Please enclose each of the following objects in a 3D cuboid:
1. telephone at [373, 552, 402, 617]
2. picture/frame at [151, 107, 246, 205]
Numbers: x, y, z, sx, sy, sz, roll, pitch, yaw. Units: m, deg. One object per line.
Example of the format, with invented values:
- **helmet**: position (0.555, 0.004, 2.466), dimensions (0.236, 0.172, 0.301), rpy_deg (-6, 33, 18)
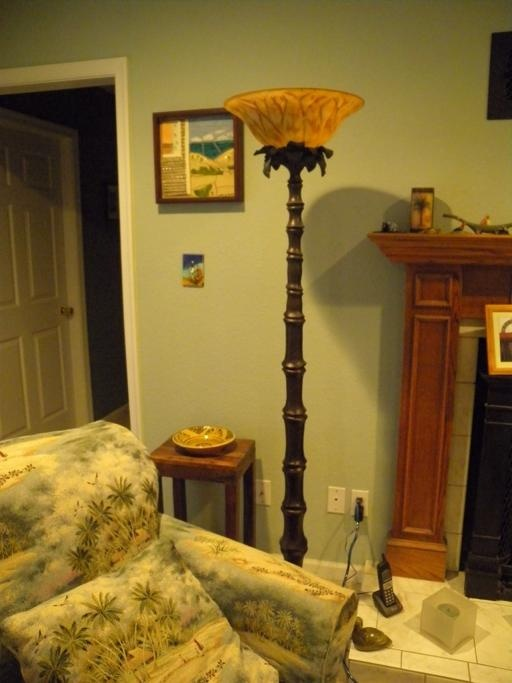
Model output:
- **telephone**: position (0.461, 0.827, 2.047), dimensions (0.102, 0.179, 0.208), rpy_deg (3, 9, 7)
- **picture/frame**: position (-0.204, -0.705, 2.190), dimensions (0.372, 0.330, 0.049), rpy_deg (5, 18, 16)
